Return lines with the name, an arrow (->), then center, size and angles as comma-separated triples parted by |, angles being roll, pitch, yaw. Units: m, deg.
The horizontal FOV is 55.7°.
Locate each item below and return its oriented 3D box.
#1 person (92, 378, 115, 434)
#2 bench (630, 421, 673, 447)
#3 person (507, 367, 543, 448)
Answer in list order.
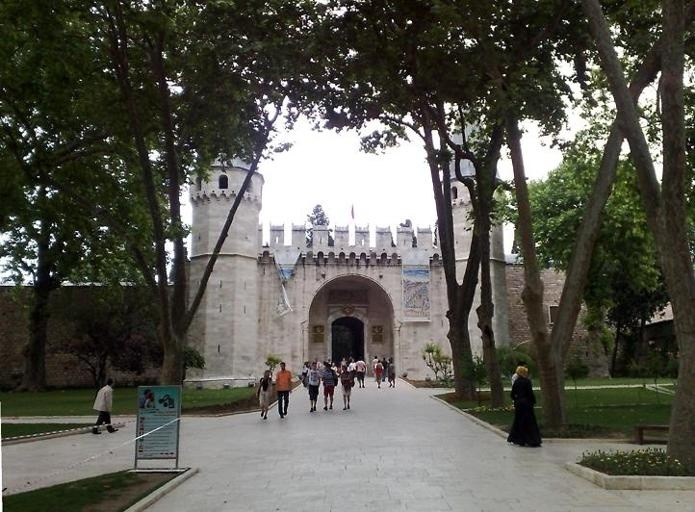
person -> -7.325, 4.488, 19.832 | 0.628, 1.502, 3.387 | 5, -13, -20
bench -> 7.190, 4.186, 15.612 | 0.687, 0.443, 2.195 | -4, -13, 24
person -> 4.099, 3.612, 15.360 | 0.705, 1.549, 0.622 | -1, -11, 8
